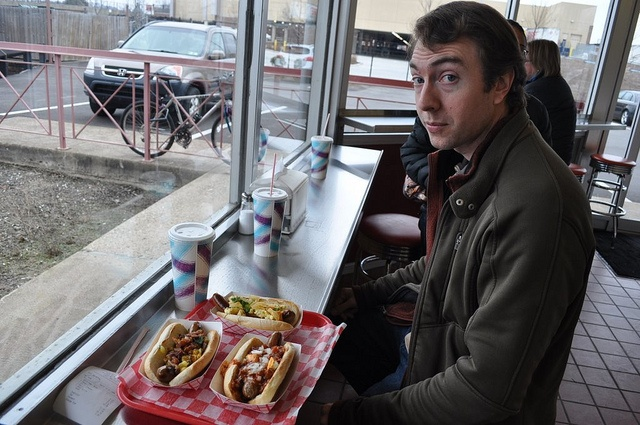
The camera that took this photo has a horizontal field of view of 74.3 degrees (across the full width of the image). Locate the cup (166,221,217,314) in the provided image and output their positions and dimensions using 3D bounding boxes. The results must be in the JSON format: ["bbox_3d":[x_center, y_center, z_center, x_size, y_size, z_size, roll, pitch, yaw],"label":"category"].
[{"bbox_3d":[-0.420,0.181,1.394,0.132,0.281,0.114,-13,25,-40],"label":"cup"}]

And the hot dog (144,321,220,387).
[{"bbox_3d":[-0.383,0.388,1.176,0.184,0.095,0.185,5,20,1],"label":"hot dog"}]

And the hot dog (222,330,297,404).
[{"bbox_3d":[-0.169,0.434,1.181,0.154,0.077,0.269,13,22,5],"label":"hot dog"}]

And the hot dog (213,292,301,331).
[{"bbox_3d":[-0.190,0.312,1.321,0.195,0.063,0.120,7,23,3],"label":"hot dog"}]

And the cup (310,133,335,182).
[{"bbox_3d":[0.021,-0.333,2.645,0.165,0.230,0.163,7,5,-1],"label":"cup"}]

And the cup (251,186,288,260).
[{"bbox_3d":[-0.211,0.035,1.761,0.138,0.269,0.145,3,19,-1],"label":"cup"}]

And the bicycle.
[{"bbox_3d":[-0.467,-0.363,1.601,0.508,0.317,0.222,2,6,-20],"label":"bicycle"}]

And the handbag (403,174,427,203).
[{"bbox_3d":[0.580,-0.157,2.507,0.141,0.101,0.141,11,53,-44],"label":"handbag"}]
